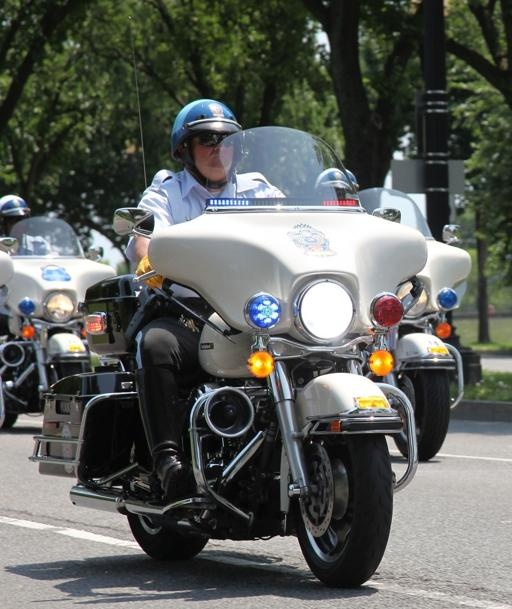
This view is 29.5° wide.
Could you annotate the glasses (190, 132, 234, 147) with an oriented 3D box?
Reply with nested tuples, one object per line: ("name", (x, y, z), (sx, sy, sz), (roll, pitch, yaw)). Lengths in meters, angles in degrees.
("glasses", (-0.217, -0.748, 4.412), (0.096, 0.041, 0.103), (0, -26, -24))

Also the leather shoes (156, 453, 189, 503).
("leather shoes", (-0.305, 0.664, 3.687), (0.086, 0.138, 0.214), (5, -2, -33))

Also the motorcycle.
("motorcycle", (-0.111, 0.190, 3.951), (1.548, 1.282, 1.248), (4, -2, 8))

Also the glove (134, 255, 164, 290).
("glove", (-0.426, -0.123, 3.944), (0.113, 0.054, 0.134), (24, -28, 18))

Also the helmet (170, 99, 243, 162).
("helmet", (-0.271, -0.804, 4.515), (0.244, 0.151, 0.291), (0, -3, -30))
